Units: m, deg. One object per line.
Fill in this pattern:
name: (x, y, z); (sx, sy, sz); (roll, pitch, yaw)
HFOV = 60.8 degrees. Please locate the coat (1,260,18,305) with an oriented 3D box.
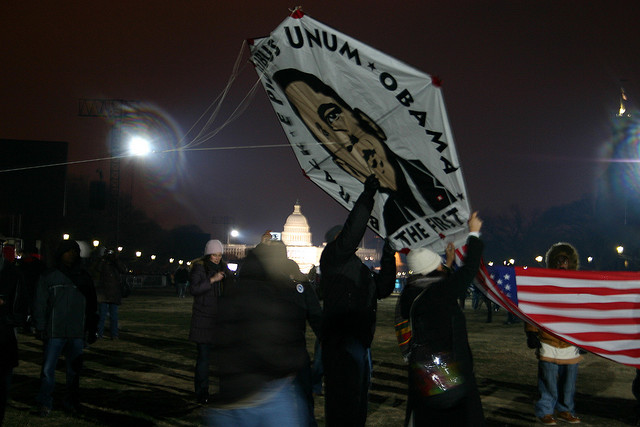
coat: (-5.534, 1.263, 9.687); (0.242, 0.932, 0.227); (7, -51, -26)

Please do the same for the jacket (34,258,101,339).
jacket: (-4.617, 1.578, 9.932); (1.054, 1.618, 0.548); (8, -34, -35)

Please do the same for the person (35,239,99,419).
person: (-4.574, 2.005, 9.761); (1.005, 3.079, 0.396); (5, -9, -23)

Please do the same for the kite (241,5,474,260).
kite: (0.683, -1.042, 7.895); (2.001, 3.138, 0.158); (-47, -11, 31)

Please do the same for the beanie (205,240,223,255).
beanie: (-2.058, 0.649, 10.497); (0.294, 0.298, 0.348); (4, -9, -13)

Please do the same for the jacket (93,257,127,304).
jacket: (-6.314, 2.236, 16.321); (0.824, 2.531, 0.762); (-2, -19, -17)

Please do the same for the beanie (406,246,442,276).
beanie: (1.379, 0.640, 7.329); (0.393, 0.324, 0.297); (-19, -60, 33)

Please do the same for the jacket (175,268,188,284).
jacket: (-8.884, 4.018, 34.857); (0.736, 0.960, 2.552); (4, -9, -14)

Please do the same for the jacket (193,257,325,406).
jacket: (-0.700, 1.337, 7.172); (1.877, 1.943, 1.101); (-14, 15, -37)

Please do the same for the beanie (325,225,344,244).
beanie: (0.185, 0.285, 8.307); (0.218, 0.280, 0.300); (-21, 3, -2)
